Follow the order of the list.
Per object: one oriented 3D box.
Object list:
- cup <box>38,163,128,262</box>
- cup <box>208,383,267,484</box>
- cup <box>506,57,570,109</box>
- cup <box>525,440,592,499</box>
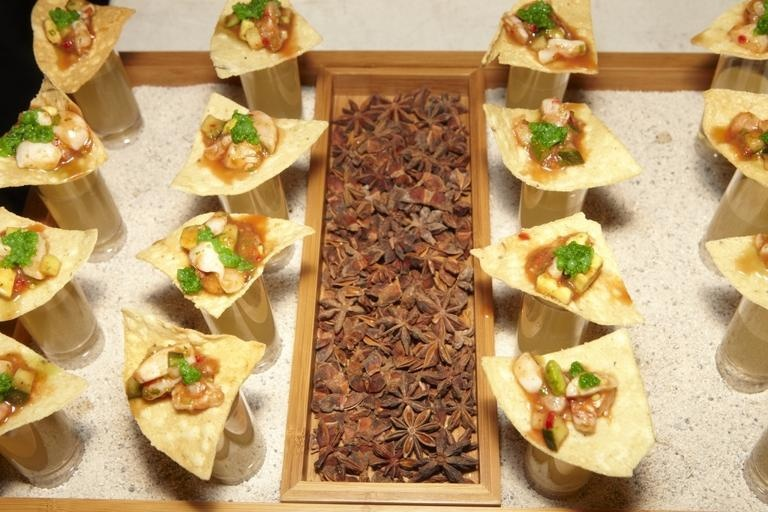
[{"bbox_3d":[-1.893,-0.251,4.030,0.363,0.603,0.388,0,51,0],"label":"cup"},{"bbox_3d":[-0.787,0.958,3.431,0.328,0.529,0.376,-6,77,-3],"label":"cup"},{"bbox_3d":[1.035,-1.154,4.470,0.356,0.419,0.383,-1,75,5],"label":"cup"},{"bbox_3d":[0.916,1.145,3.560,0.294,0.308,0.303,-10,10,2],"label":"cup"}]
